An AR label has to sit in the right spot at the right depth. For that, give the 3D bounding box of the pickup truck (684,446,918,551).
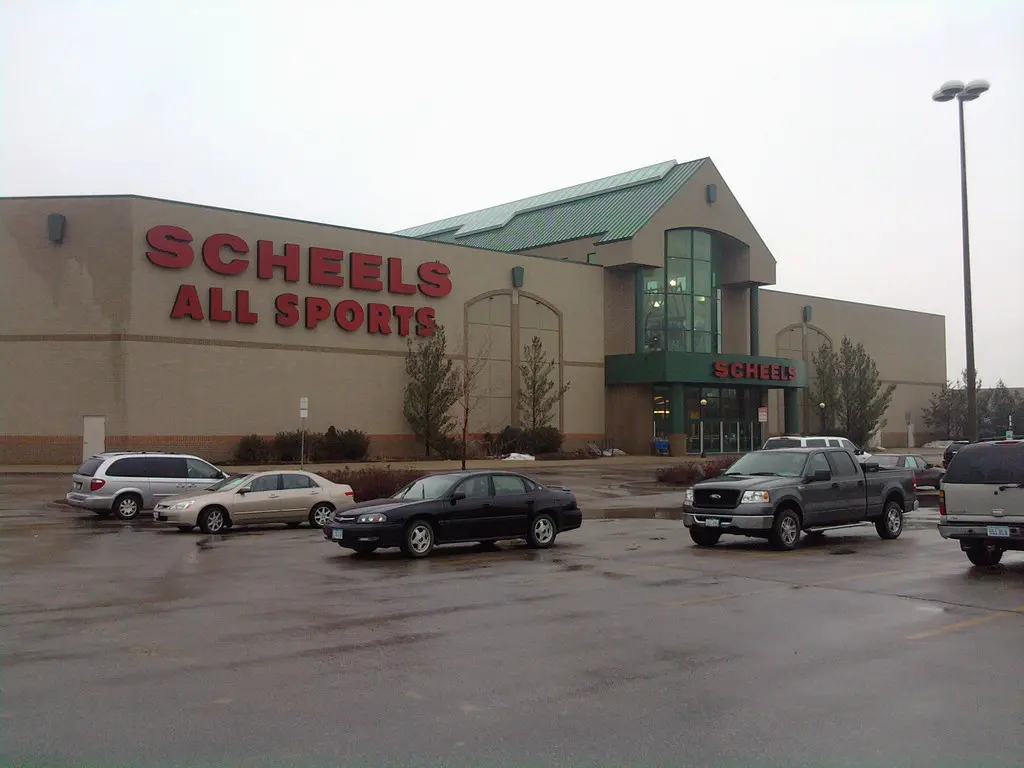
[{"bbox_3d":[6.323,2.376,19.229,4.387,1.572,2.264,6,-10,-41],"label":"pickup truck"}]

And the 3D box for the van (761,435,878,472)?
[{"bbox_3d":[8.547,1.886,24.467,2.885,1.251,1.548,-2,-1,-9],"label":"van"}]
